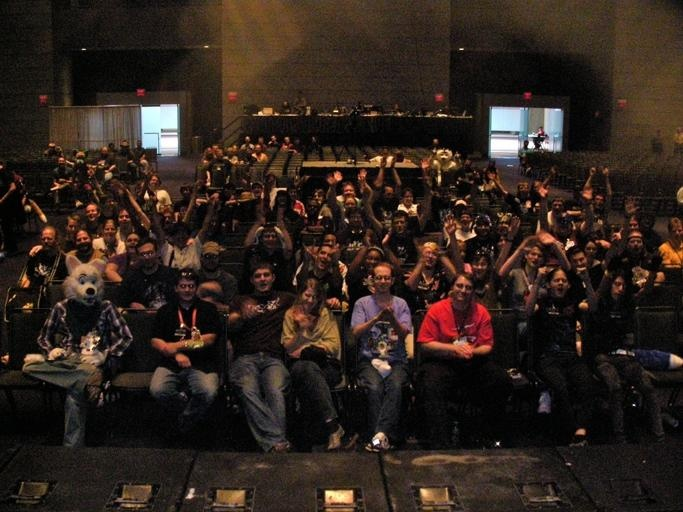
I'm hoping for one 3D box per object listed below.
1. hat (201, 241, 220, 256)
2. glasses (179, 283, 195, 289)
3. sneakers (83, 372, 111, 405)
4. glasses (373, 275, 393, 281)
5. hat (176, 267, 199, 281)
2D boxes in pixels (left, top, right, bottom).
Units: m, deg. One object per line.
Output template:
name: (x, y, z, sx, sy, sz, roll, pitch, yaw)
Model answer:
hat: (-1.508, -0.080, 7.680, 0.180, 0.097, 0.268, -1, 2, -7)
glasses: (-1.502, 0.295, 6.421, 0.133, 0.042, 0.024, -1, 8, -14)
sneakers: (-2.246, 1.223, 6.117, 0.204, 0.087, 0.285, -2, 50, -22)
glasses: (0.414, 0.222, 6.558, 0.166, 0.057, 0.122, 0, 7, -4)
hat: (-1.517, 0.171, 6.514, 0.150, 0.132, 0.177, 7, 9, -41)
